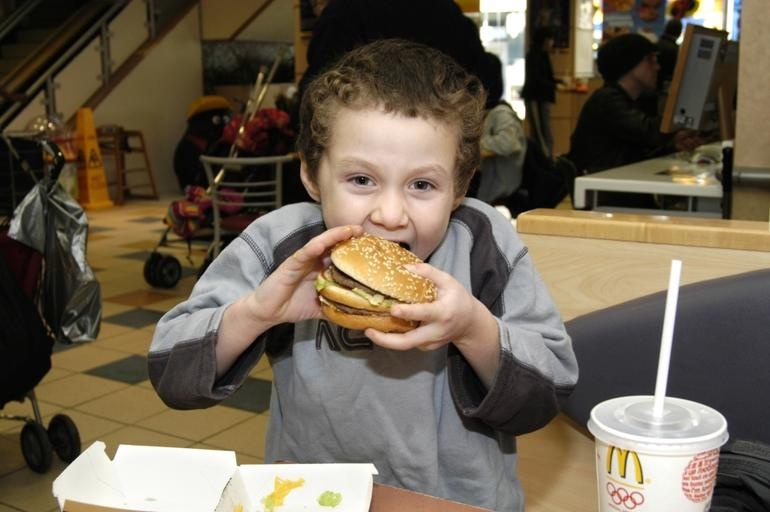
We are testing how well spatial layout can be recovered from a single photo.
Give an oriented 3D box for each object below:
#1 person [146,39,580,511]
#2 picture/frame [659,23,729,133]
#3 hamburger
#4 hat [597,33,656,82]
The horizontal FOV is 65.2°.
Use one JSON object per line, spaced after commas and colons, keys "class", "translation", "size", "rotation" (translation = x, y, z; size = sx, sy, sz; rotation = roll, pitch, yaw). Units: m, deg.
{"class": "person", "translation": [-0.029, 0.093, 1.416], "size": [0.939, 1.198, 0.573], "rotation": [2, 12, 13]}
{"class": "picture/frame", "translation": [1.478, -0.845, 2.888], "size": [0.447, 0.480, 0.163], "rotation": [-11, 16, -41]}
{"class": "hamburger", "translation": [-0.020, 0.067, 1.451], "size": [0.270, 0.176, 0.274], "rotation": [5, 14, 0]}
{"class": "hat", "translation": [1.495, -1.248, 3.797], "size": [0.332, 0.272, 0.281], "rotation": [-12, 18, 38]}
